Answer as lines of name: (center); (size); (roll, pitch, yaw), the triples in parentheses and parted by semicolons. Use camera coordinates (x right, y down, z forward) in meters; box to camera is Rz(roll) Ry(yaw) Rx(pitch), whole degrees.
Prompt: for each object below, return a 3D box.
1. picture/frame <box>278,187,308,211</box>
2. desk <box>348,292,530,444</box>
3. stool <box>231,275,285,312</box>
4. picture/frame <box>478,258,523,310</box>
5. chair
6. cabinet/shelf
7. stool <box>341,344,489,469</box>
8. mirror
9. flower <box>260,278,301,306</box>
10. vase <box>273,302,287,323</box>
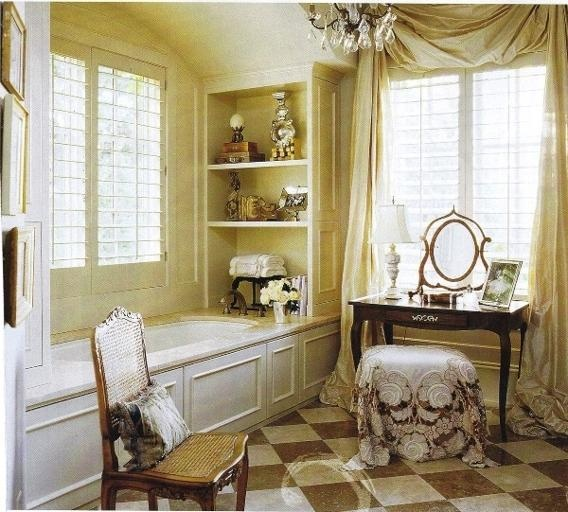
picture/frame: (0.066, -0.494, 4.170); (0.203, 0.206, 0.061); (2, -12, 34)
desk: (1.004, 0.679, 3.433); (0.995, 0.755, 0.539); (1, 4, 25)
stool: (-0.353, 0.316, 4.265); (0.345, 0.271, 0.353); (1, 2, 44)
picture/frame: (1.439, 0.189, 3.310); (0.044, 0.458, 0.323); (28, -16, -26)
chair: (-0.435, 0.662, 2.023); (0.543, 0.890, 0.470); (-1, 4, 3)
cabinet/shelf: (-0.101, -0.534, 4.302); (1.161, 1.997, 0.495); (1, 4, 27)
stool: (0.784, 0.823, 2.978); (0.617, 0.492, 0.640); (-1, -3, 11)
mirror: (1.232, -0.032, 3.652); (0.620, 0.656, 0.047); (4, 2, 30)
flower: (-0.024, 0.242, 3.676); (0.204, 0.163, 0.211); (0, 0, 30)
vase: (-0.038, 0.413, 3.709); (0.126, 0.145, 0.122); (1, 0, 34)
